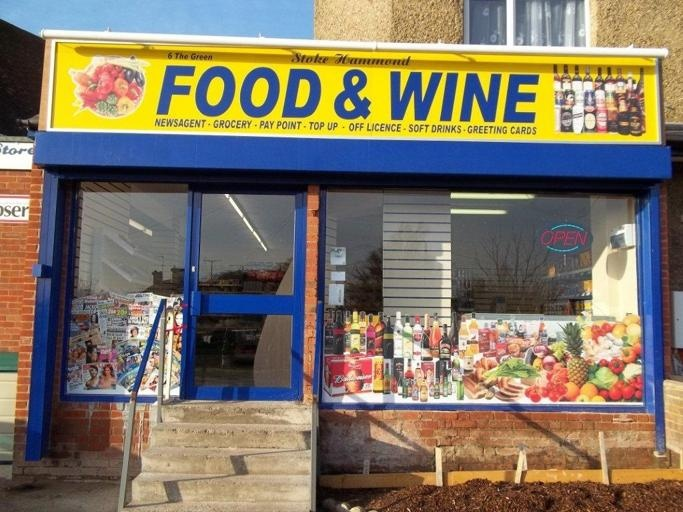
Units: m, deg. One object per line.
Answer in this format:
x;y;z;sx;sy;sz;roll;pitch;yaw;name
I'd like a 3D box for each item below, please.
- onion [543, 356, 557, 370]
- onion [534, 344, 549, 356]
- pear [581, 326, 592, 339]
2.637;1.373;9.063;0.158;0.187;0.156;-5;-5;-18;onion
2.552;1.209;9.084;0.160;0.097;0.124;0;6;-42;onion
3.148;0.984;9.129;0.143;0.202;0.127;6;-9;-28;pear
